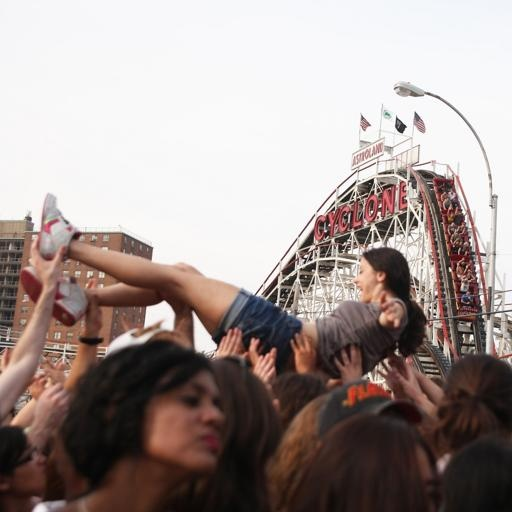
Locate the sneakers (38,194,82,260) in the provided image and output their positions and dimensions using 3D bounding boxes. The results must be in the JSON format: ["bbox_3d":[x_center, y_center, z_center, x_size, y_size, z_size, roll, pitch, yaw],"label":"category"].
[{"bbox_3d":[-1.475,-0.213,2.987,0.273,0.546,0.264,9,-16,-29],"label":"sneakers"}]

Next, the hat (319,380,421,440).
[{"bbox_3d":[0.357,0.470,1.215,0.331,0.184,0.333,-1,-16,9],"label":"hat"}]
